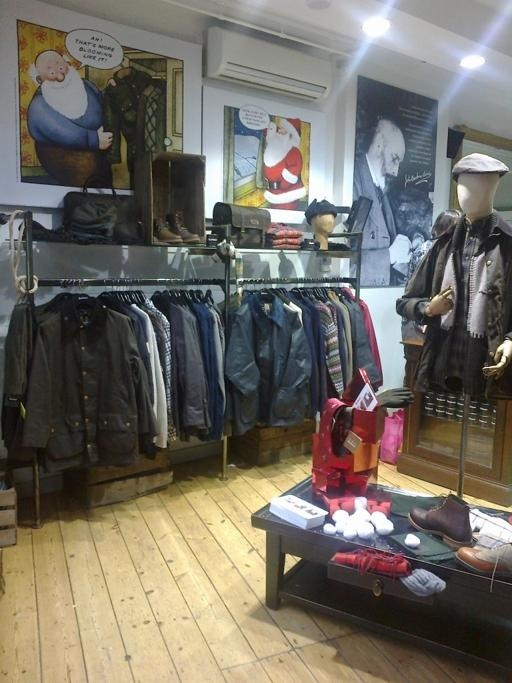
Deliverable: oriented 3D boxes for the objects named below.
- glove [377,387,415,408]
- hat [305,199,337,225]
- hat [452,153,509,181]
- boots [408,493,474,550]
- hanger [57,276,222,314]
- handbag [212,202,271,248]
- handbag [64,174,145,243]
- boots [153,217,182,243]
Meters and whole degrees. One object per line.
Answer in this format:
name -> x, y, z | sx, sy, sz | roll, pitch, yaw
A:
glove -> 0.530, 0.212, 2.022 | 0.136, 0.081, 0.041 | -7, -36, 39
hat -> 0.455, -0.909, 3.810 | 0.147, 0.144, 0.199 | -2, -1, -35
hat -> 0.806, -0.631, 1.968 | 0.136, 0.050, 0.148 | -2, 19, -2
boots -> 0.626, 0.586, 1.819 | 0.093, 0.152, 0.240 | 6, 5, -38
hanger -> -0.653, -0.307, 3.170 | 1.003, 0.145, 0.597 | -2, 7, -19
handbag -> -0.118, -0.695, 3.297 | 0.354, 0.324, 0.274 | -10, 16, -41
handbag -> -0.791, -0.666, 2.785 | 0.395, 0.367, 0.182 | 0, -7, -3
boots -> -0.499, -0.622, 3.003 | 0.164, 0.151, 0.236 | -2, 7, -20
